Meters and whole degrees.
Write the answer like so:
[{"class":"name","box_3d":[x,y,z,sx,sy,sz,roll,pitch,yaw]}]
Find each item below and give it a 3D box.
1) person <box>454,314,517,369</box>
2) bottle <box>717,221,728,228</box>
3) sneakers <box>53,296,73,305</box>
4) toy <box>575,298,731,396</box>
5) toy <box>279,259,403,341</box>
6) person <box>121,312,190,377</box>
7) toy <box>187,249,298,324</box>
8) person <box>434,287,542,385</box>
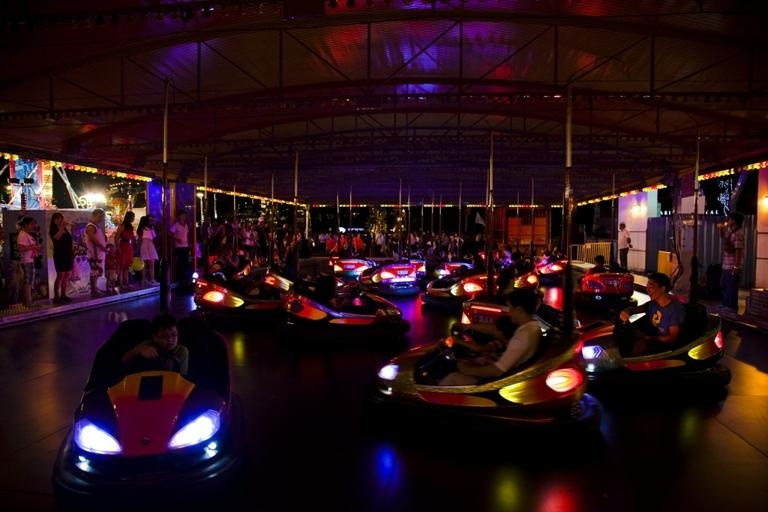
[{"class":"person","box_3d":[1.301,1.081,8.526,0.716,0.355,0.527,-8,25,-5]},{"class":"bottle","box_3d":[7.204,-0.687,14.166,0.302,0.085,0.341,-1,0,26]},{"class":"sneakers","box_3d":[-5.904,0.806,12.279,0.373,0.163,0.136,1,8,-42]},{"class":"toy","box_3d":[3.626,1.190,8.915,1.645,0.796,1.161,0,-2,4]},{"class":"toy","box_3d":[-0.726,0.806,10.790,1.593,0.841,1.003,1,-1,-10]},{"class":"person","box_3d":[-2.544,1.009,7.581,0.542,0.763,0.757,2,-16,-13]},{"class":"toy","box_3d":[-2.496,0.563,11.643,1.483,0.719,1.033,5,21,-15]},{"class":"person","box_3d":[1.337,1.058,8.327,1.321,1.048,0.904,-17,11,18]}]
